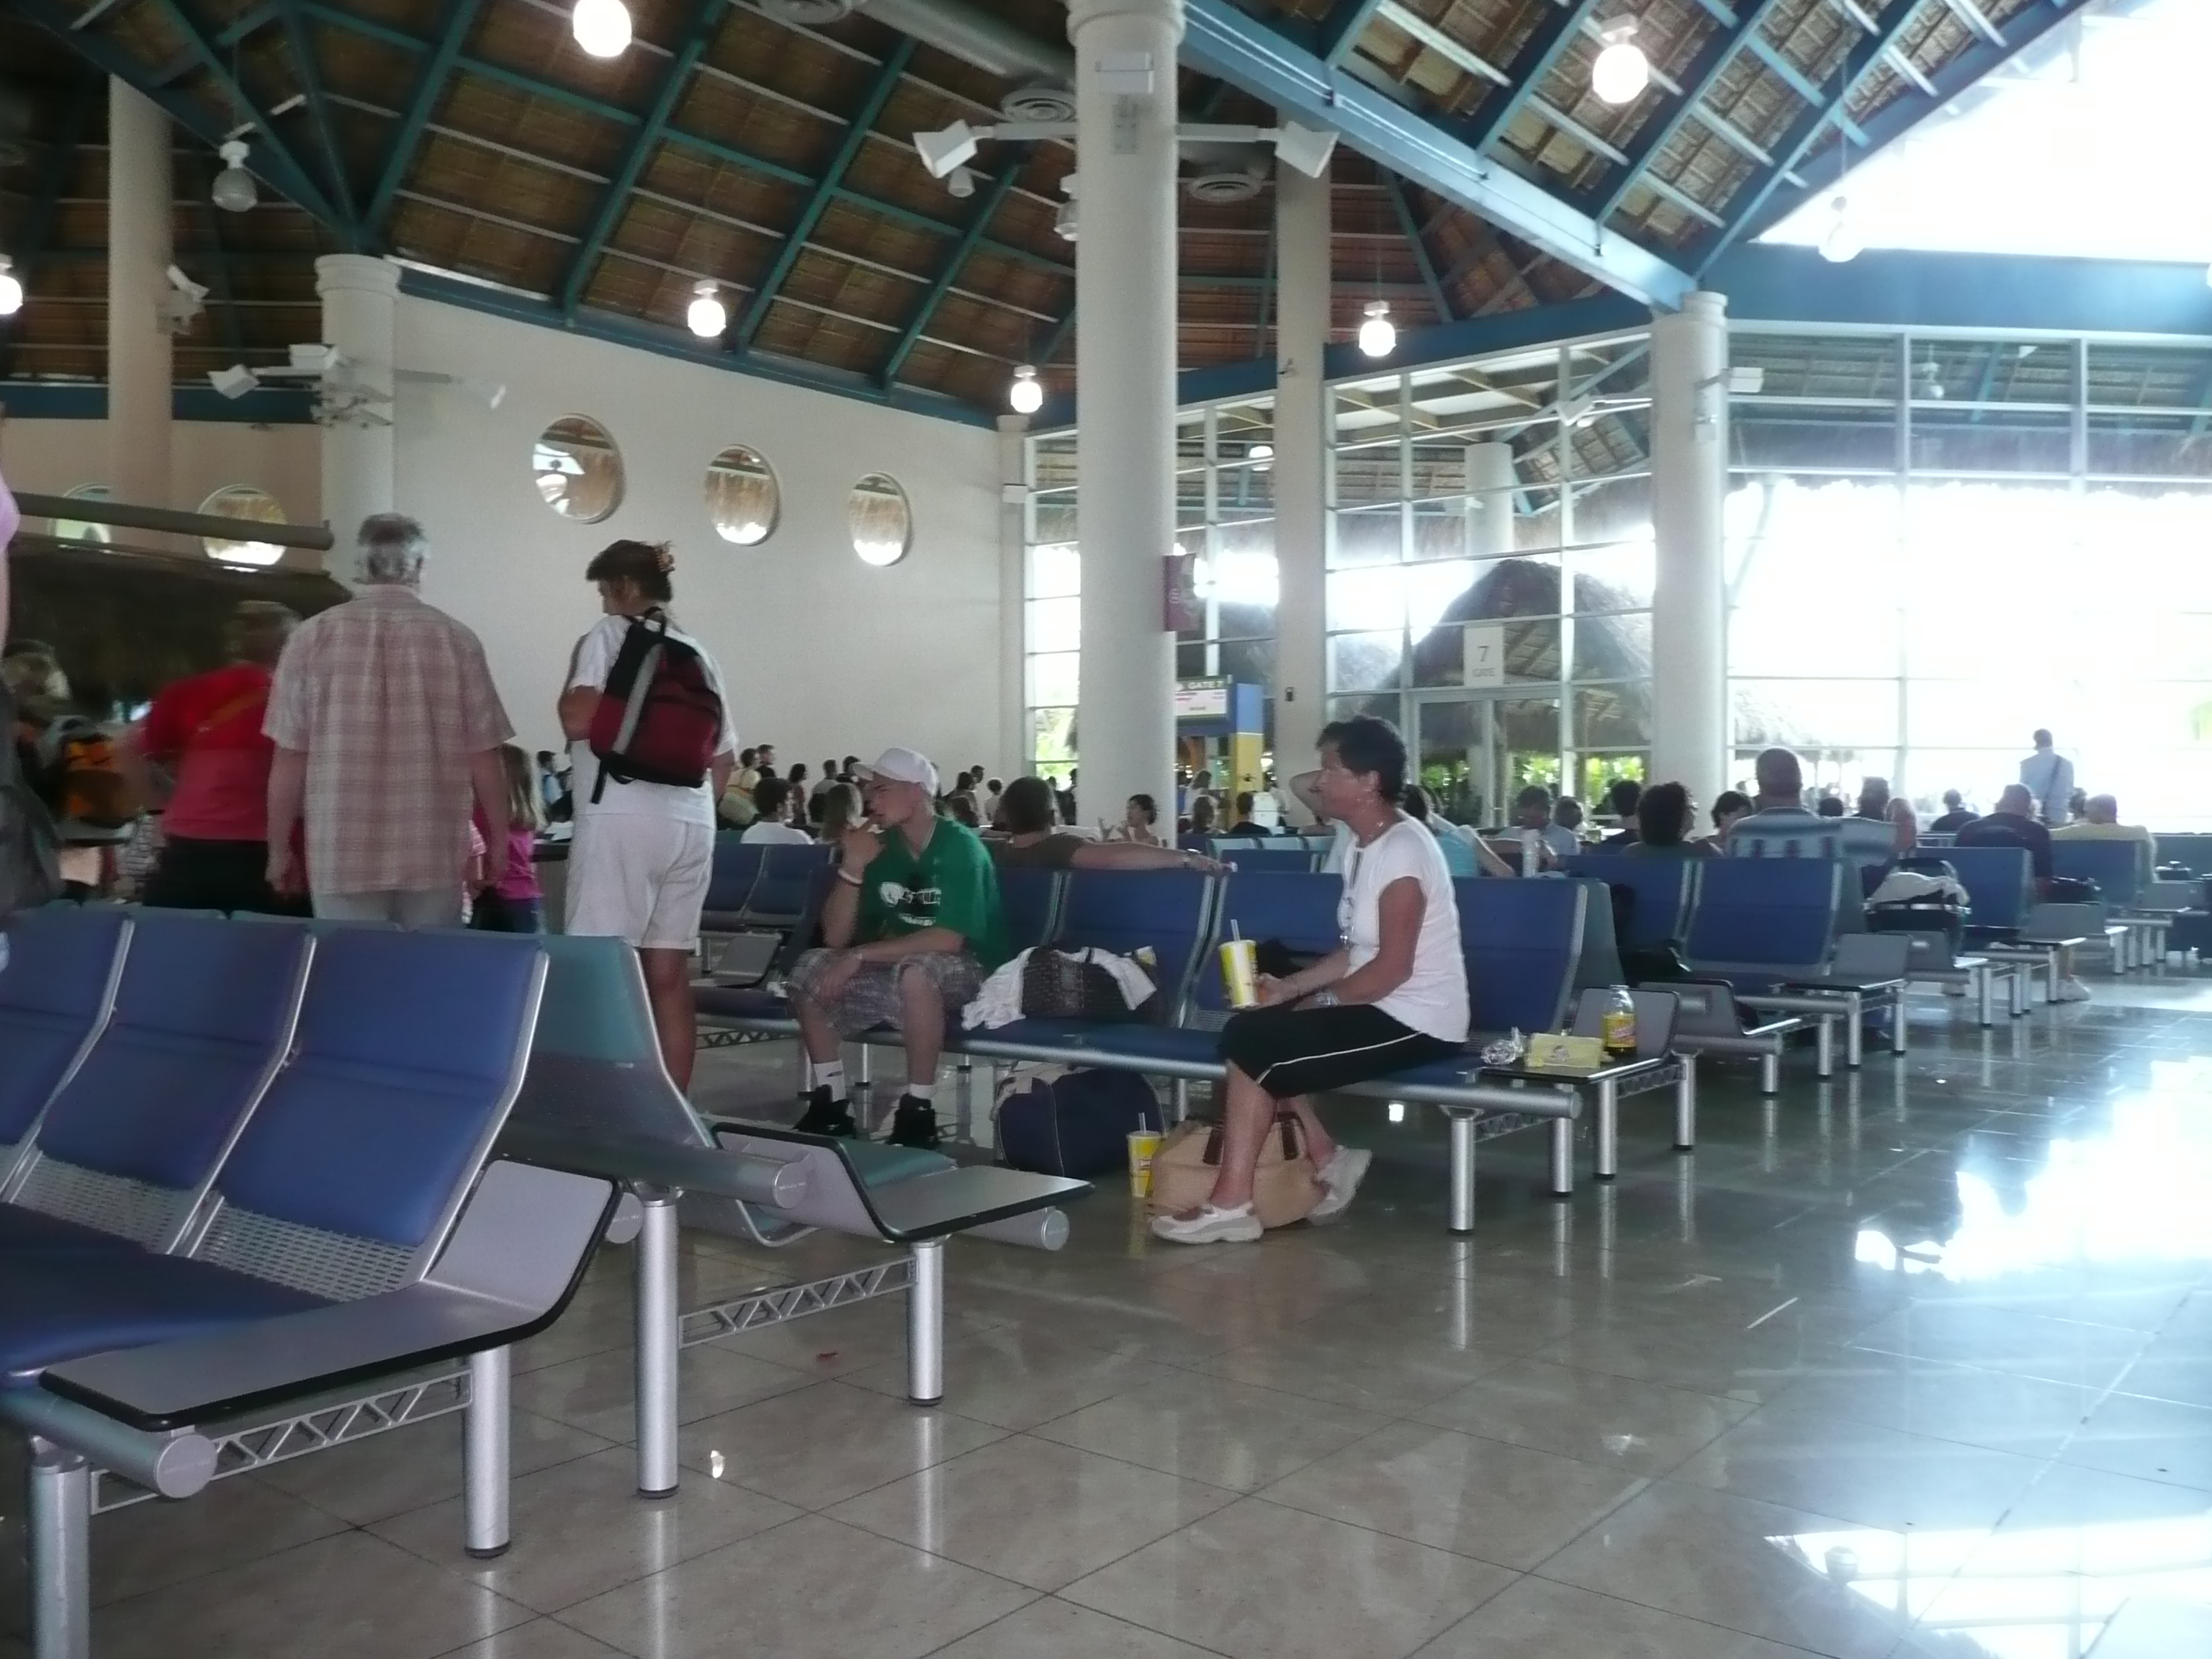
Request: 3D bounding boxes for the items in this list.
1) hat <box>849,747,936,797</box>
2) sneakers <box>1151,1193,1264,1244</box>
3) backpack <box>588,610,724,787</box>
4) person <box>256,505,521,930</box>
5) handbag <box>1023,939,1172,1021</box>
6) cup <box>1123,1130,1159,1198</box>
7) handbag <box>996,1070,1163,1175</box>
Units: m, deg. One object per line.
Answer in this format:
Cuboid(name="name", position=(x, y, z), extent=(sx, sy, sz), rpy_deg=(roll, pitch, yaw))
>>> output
Cuboid(name="hat", position=(-0.712, -0.207, 6.262), extent=(0.335, 0.158, 0.230), rpy_deg=(18, -6, -11))
Cuboid(name="sneakers", position=(0.305, 1.153, 5.285), extent=(0.342, 0.131, 0.118), rpy_deg=(4, -13, -9))
Cuboid(name="backpack", position=(-1.333, -0.384, 5.336), extent=(0.176, 0.521, 0.367), rpy_deg=(3, 5, 43))
Cuboid(name="person", position=(-2.036, -0.068, 5.095), extent=(0.673, 1.463, 0.471), rpy_deg=(-1, 5, -23))
Cuboid(name="handbag", position=(-0.056, 0.529, 6.167), extent=(0.312, 0.186, 0.302), rpy_deg=(7, -8, -40))
Cuboid(name="cup", position=(0.120, 1.089, 5.816), extent=(0.165, 0.214, 0.167), rpy_deg=(1, 3, 0))
Cuboid(name="handbag", position=(-0.096, 0.962, 5.919), extent=(0.425, 0.332, 0.394), rpy_deg=(3, -5, -38))
